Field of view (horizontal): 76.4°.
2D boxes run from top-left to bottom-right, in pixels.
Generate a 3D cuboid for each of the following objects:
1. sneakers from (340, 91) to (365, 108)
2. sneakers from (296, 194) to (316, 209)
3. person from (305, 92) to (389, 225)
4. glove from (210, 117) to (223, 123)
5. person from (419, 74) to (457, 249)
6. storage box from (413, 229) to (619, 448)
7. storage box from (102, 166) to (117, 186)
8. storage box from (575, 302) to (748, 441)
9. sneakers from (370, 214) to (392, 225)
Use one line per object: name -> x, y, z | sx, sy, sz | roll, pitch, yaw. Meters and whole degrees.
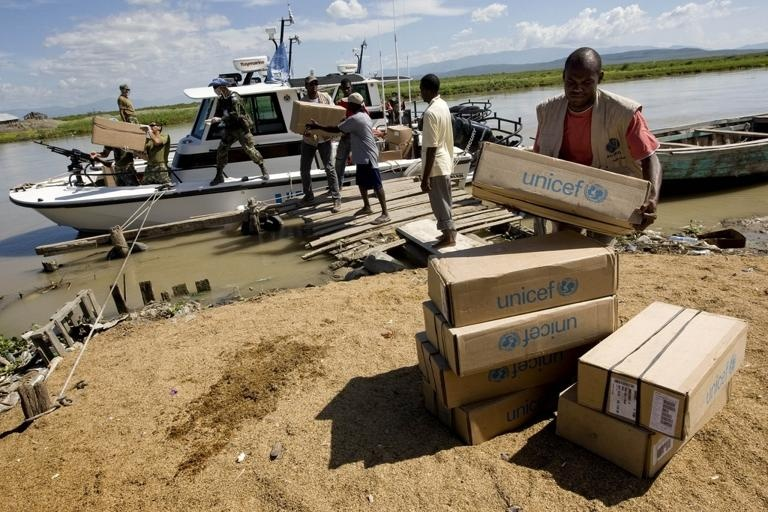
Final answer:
sneakers -> -0.568, -2.741, 8.611 | 0.292, 0.233, 0.408 | -3, 20, 4
sneakers -> -1.782, -1.136, 10.166 | 0.551, 0.272, 0.185 | 3, 10, 20
person -> -0.547, -1.738, 8.796 | 1.012, 2.250, 0.999 | -9, 22, -7
glove -> -3.405, -2.688, 9.692 | 0.156, 0.057, 0.205 | -3, 12, 6
person -> 0.692, -1.203, 6.522 | 0.432, 2.314, 0.727 | -3, 23, 8
storage box -> 1.142, 0.736, 4.046 | 1.697, 1.305, 0.920 | -12, 21, -16
storage box -> -6.237, -1.798, 10.849 | 0.244, 0.397, 0.406 | -15, 25, -26
storage box -> 2.293, 0.811, 3.999 | 1.383, 0.754, 0.874 | -23, 25, -31
sneakers -> -0.080, -0.676, 8.854 | 0.341, 0.116, 0.171 | -2, 13, -7
